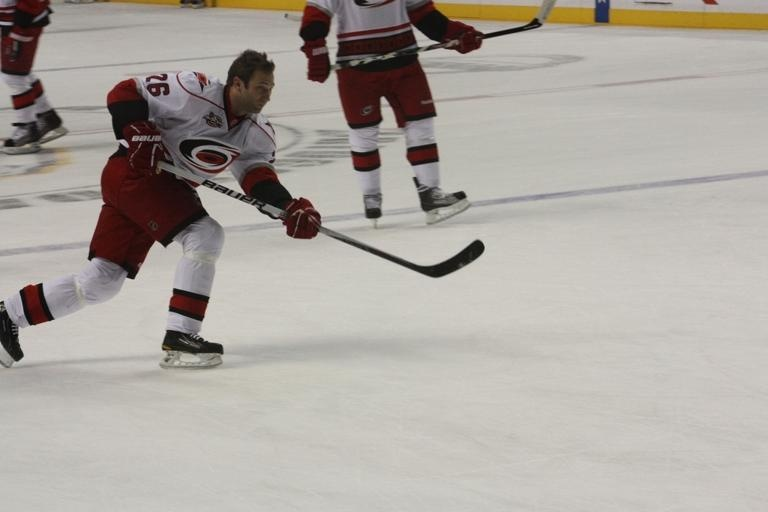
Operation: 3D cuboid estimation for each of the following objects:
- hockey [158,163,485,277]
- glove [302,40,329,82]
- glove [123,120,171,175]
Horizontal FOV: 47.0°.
[{"bbox_3d":[-0.287,-0.153,4.328,2.090,0.162,0.230,14,-8,-1],"label":"hockey"},{"bbox_3d":[-0.380,-1.063,4.820,0.205,0.198,0.071,-4,18,7],"label":"glove"},{"bbox_3d":[-0.888,-0.396,3.279,0.202,0.172,0.083,-17,21,-26],"label":"glove"}]
